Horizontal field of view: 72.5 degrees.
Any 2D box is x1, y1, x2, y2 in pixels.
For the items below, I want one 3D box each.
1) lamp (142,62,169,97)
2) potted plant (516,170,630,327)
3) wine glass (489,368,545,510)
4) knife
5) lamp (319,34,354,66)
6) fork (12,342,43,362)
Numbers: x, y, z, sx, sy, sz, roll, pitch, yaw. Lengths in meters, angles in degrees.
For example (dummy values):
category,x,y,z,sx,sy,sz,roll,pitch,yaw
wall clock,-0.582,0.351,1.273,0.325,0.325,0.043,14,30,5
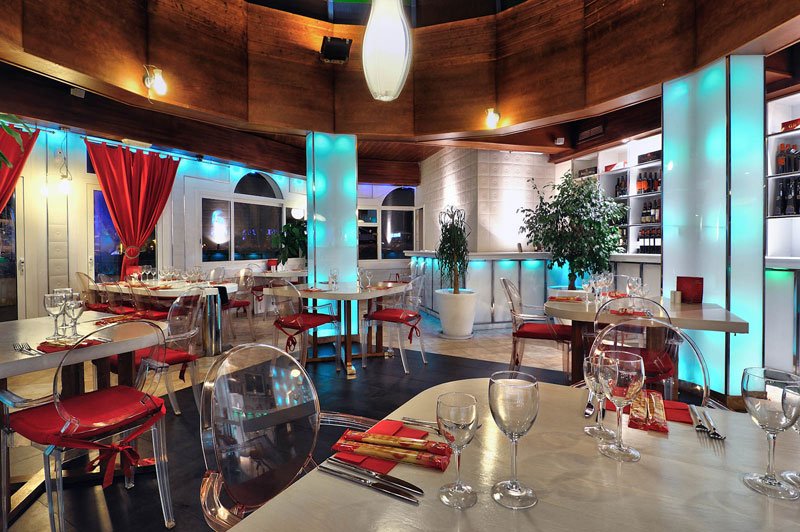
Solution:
category,x,y,z,sx,sy,sz,roll,pitch,yaw
lamp,-2.621,-2.017,5.865,0.246,0.321,0.164,-2,1,-24
potted plant,2.400,-0.393,8.349,1.967,2.161,1.676,0,-1,-12
wine glass,0.596,0.888,2.856,0.240,0.634,0.348,-2,1,13
knife,-0.154,1.103,2.819,0.555,0.159,0.070,-2,1,16
lamp,-0.758,-2.572,6.510,0.346,0.280,0.343,0,4,-24
fork,-2.543,0.580,3.742,0.380,0.044,0.091,9,13,33
